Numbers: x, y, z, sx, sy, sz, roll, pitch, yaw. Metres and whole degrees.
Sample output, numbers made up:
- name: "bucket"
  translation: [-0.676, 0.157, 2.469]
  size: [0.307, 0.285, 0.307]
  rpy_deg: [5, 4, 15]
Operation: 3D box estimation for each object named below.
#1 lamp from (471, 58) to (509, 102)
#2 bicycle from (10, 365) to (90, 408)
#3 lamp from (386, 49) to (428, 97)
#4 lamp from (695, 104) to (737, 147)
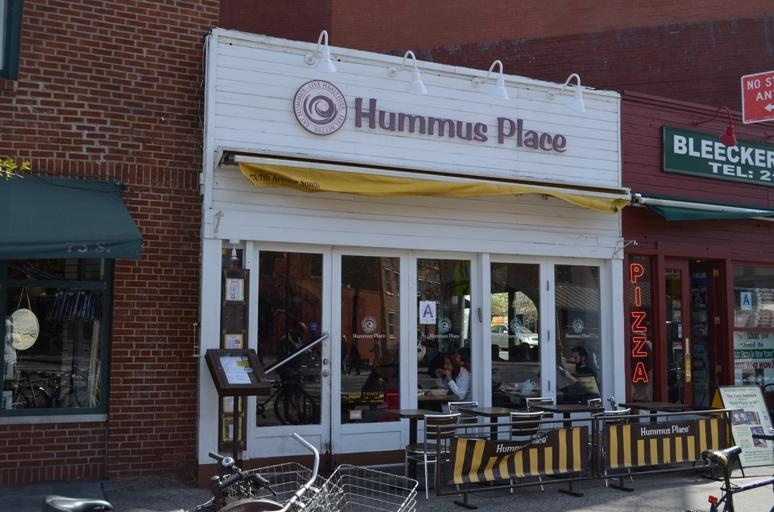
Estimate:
- name: "lamp"
  translation: [1.876, -3.149, 17.194]
  size: [0.481, 0.618, 0.855]
  rpy_deg: [-26, 32, -36]
- name: "bicycle"
  translation: [-5.635, 2.240, 16.391]
  size: [1.159, 0.652, 0.555]
  rpy_deg: [1, -8, -9]
- name: "lamp"
  translation: [0.529, -3.140, 16.997]
  size: [0.543, 0.679, 1.009]
  rpy_deg: [0, 10, -21]
- name: "lamp"
  translation: [6.383, -2.534, 18.890]
  size: [0.386, 0.710, 1.031]
  rpy_deg: [-23, 35, -30]
